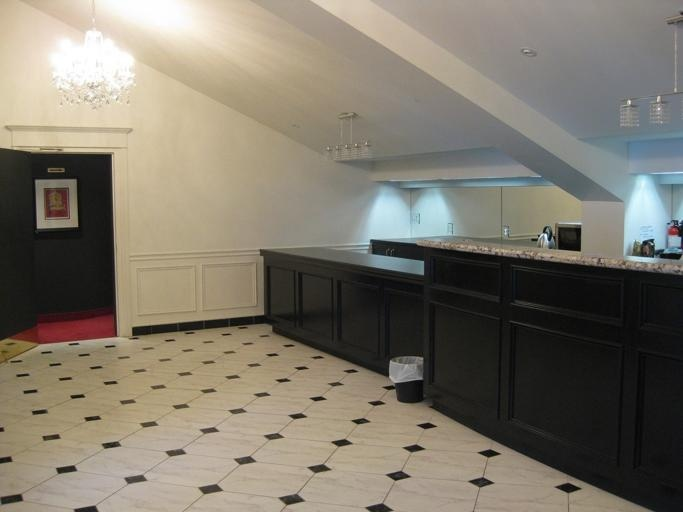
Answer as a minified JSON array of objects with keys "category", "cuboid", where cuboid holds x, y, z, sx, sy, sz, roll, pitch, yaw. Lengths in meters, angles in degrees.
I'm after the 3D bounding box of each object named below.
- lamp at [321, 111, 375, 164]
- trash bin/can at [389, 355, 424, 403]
[{"category":"lamp","cuboid":[0.105,-1.665,7.136,0.585,0.615,1.306,0,6,1]},{"category":"trash bin/can","cuboid":[0.607,1.300,5.207,0.379,0.419,0.430,-1,2,-9]}]
